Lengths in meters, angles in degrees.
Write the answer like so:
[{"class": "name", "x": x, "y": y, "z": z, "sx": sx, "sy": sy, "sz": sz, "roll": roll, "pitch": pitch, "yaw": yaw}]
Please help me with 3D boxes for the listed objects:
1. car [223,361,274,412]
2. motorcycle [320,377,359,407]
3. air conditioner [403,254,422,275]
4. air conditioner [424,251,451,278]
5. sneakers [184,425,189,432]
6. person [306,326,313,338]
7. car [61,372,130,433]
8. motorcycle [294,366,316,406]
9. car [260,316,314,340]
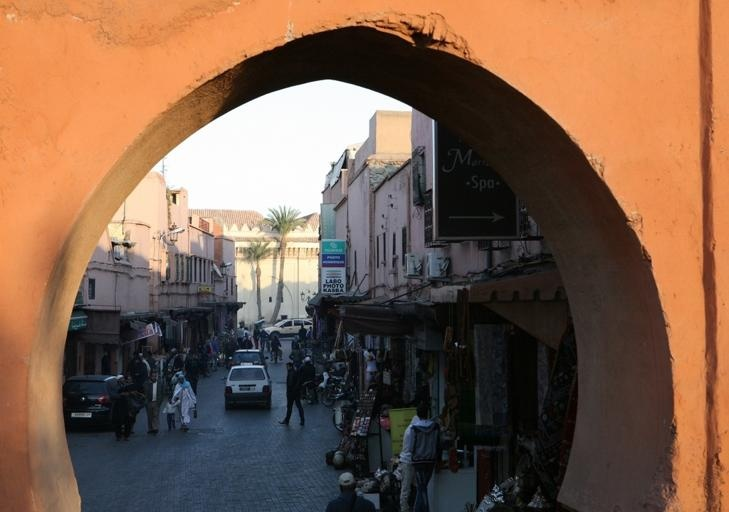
[{"class": "car", "x": -3.015, "y": 3.575, "z": 24.753, "sx": 1.186, "sy": 1.179, "sz": 2.361, "roll": 0, "pitch": -15, "yaw": -6}, {"class": "motorcycle", "x": -0.670, "y": 3.497, "z": 24.343, "sx": 1.030, "sy": 0.751, "sz": 0.667, "roll": 2, "pitch": -1, "yaw": 16}, {"class": "air conditioner", "x": 0.967, "y": 0.186, "z": 18.691, "sx": 0.356, "sy": 0.457, "sz": 0.295, "roll": -1, "pitch": 3, "yaw": -16}, {"class": "air conditioner", "x": 1.288, "y": 0.168, "z": 16.644, "sx": 0.321, "sy": 0.498, "sz": 0.642, "roll": -1, "pitch": -6, "yaw": -7}, {"class": "sneakers", "x": -3.787, "y": 3.626, "z": 20.099, "sx": 0.096, "sy": 0.104, "sz": 0.161, "roll": -4, "pitch": -8, "yaw": -12}, {"class": "person", "x": -2.926, "y": 3.974, "z": 49.538, "sx": 0.389, "sy": 0.796, "sz": 0.410, "roll": 3, "pitch": -8, "yaw": -19}, {"class": "car", "x": -5.750, "y": 3.068, "z": 20.235, "sx": 0.804, "sy": 0.750, "sz": 1.846, "roll": 0, "pitch": 3, "yaw": -1}, {"class": "motorcycle", "x": -1.513, "y": 3.266, "z": 24.556, "sx": 0.530, "sy": 0.718, "sz": 1.035, "roll": 0, "pitch": 2, "yaw": -6}, {"class": "car", "x": -4.625, "y": 4.389, "z": 57.083, "sx": 2.790, "sy": 1.148, "sz": 1.341, "roll": 1, "pitch": -1, "yaw": -7}]
